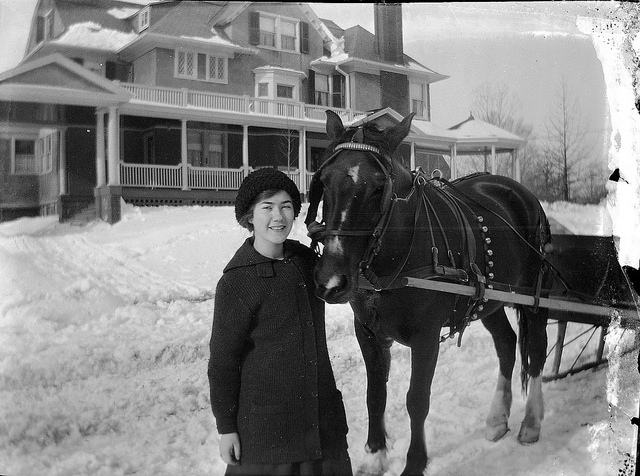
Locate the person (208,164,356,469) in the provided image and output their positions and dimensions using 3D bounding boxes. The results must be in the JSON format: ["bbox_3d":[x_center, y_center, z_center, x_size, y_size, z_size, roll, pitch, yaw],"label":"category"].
[{"bbox_3d":[-0.297,0.548,4.931,0.932,2.014,0.434,-2,7,-12],"label":"person"}]

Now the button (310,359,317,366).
[{"bbox_3d":[-0.049,0.843,4.923,0.038,0.043,0.010,-6,3,-6],"label":"button"}]

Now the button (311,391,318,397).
[{"bbox_3d":[-0.035,1.056,4.919,0.039,0.035,0.010,-1,7,-9],"label":"button"}]

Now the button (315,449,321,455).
[{"bbox_3d":[-0.015,1.439,4.876,0.028,0.032,0.006,5,-13,-3],"label":"button"}]

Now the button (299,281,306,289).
[{"bbox_3d":[-0.118,0.321,4.950,0.040,0.045,0.009,4,-11,-16],"label":"button"}]

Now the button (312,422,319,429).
[{"bbox_3d":[-0.029,1.262,4.896,0.042,0.040,0.011,-1,7,-3],"label":"button"}]

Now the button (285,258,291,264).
[{"bbox_3d":[-0.219,0.158,4.975,0.027,0.030,0.007,4,-14,-18],"label":"button"}]

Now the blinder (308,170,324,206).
[{"bbox_3d":[-0.025,-0.380,5.308,0.070,0.217,0.146,6,6,-1],"label":"blinder"}]

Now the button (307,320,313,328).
[{"bbox_3d":[-0.066,0.585,4.936,0.033,0.036,0.008,2,-4,-39],"label":"button"}]

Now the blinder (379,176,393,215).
[{"bbox_3d":[0.480,-0.311,5.208,0.048,0.220,0.144,12,-4,-17],"label":"blinder"}]

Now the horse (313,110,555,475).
[{"bbox_3d":[0.875,0.447,5.779,2.355,2.874,0.652,-6,9,-39],"label":"horse"}]
